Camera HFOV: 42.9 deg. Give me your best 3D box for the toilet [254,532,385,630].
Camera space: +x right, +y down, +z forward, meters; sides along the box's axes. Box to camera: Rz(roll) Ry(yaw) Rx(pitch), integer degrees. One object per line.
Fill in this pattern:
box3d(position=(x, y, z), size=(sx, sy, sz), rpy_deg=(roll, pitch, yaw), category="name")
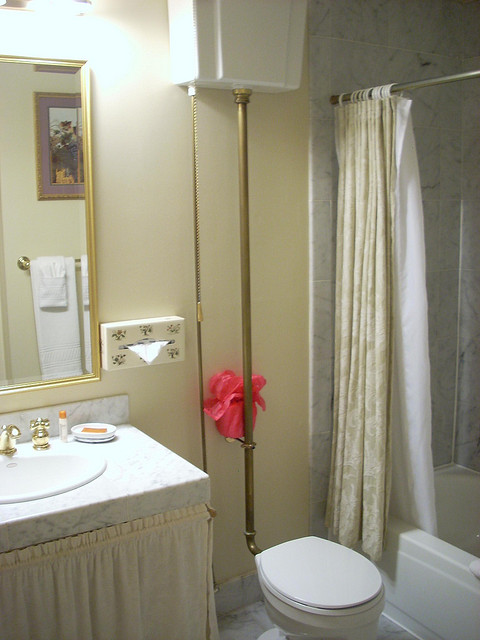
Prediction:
box3d(position=(0.205, 0.726, 1.734), size=(0.254, 0.171, 0.311), rpy_deg=(-5, 13, -24), category="toilet")
